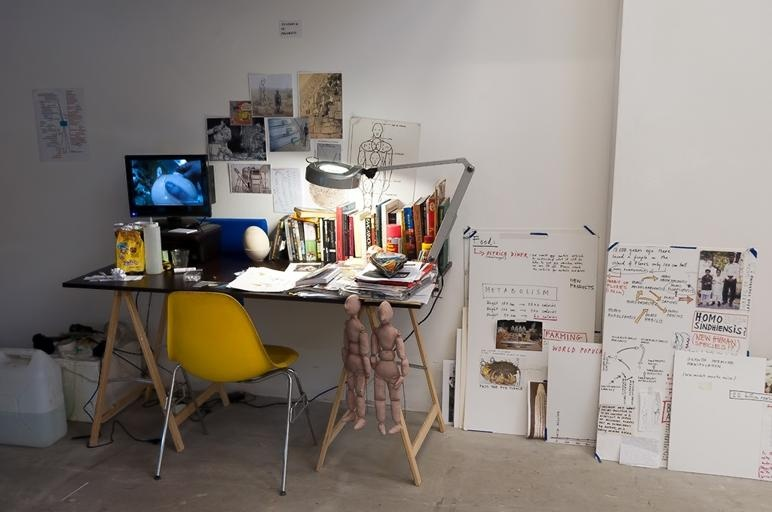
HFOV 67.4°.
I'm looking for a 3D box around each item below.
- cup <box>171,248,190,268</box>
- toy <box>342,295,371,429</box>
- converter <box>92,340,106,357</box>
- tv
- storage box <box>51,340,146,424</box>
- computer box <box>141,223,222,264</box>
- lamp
[{"bbox_3d":[-1.306,0.017,3.666,0.123,0.121,0.102,-5,10,-32],"label":"cup"},{"bbox_3d":[-0.167,0.608,3.276,0.161,0.807,0.241,1,9,-5],"label":"toy"},{"bbox_3d":[-1.957,0.639,3.945,0.057,0.090,0.093,11,-19,5],"label":"converter"},{"bbox_3d":[-1.434,-0.433,3.830,0.540,0.455,0.187,-1,5,1],"label":"tv"},{"bbox_3d":[-1.792,0.888,4.116,0.593,0.457,0.841,1,0,-2],"label":"storage box"},{"bbox_3d":[-1.271,-0.087,3.836,0.300,0.183,0.290,3,14,10],"label":"computer box"},{"bbox_3d":[0.044,-0.310,3.557,0.962,0.613,0.564,3,8,8],"label":"lamp"}]
